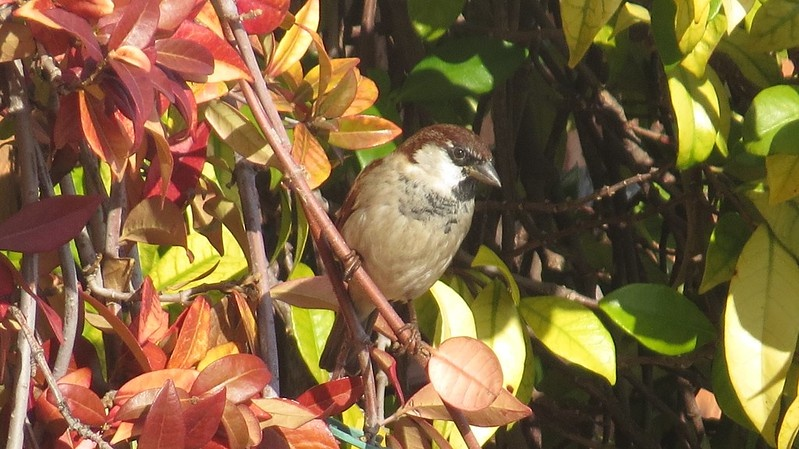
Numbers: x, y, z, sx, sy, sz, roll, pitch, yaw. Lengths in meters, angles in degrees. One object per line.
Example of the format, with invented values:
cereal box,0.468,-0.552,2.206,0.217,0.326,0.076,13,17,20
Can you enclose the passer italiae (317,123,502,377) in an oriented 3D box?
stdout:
passer italiae,-0.028,0.009,4.273,0.403,0.802,0.821,9,7,-43
